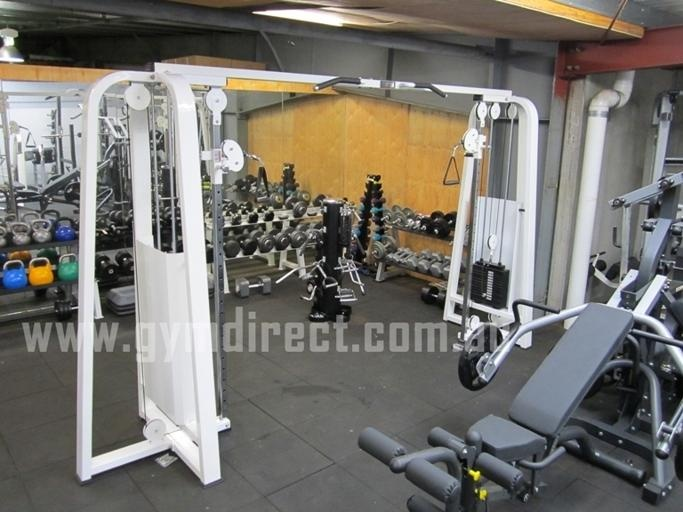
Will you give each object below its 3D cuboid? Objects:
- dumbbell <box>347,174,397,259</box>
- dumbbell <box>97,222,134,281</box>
[{"bbox_3d":[0.314,-0.455,5.533,0.292,1.096,0.273,-9,17,-38],"label":"dumbbell"},{"bbox_3d":[-2.129,-0.052,4.899,0.317,0.708,0.382,10,13,36],"label":"dumbbell"}]
